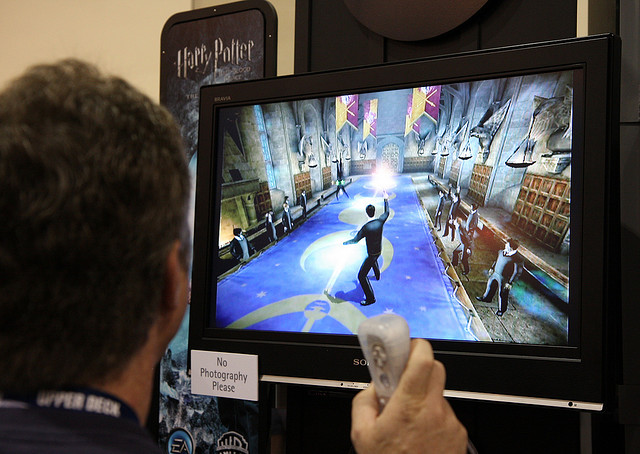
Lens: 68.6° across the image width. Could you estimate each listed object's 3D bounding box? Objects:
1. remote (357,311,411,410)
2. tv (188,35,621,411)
[{"bbox_3d":[0.097,0.216,0.663,0.061,0.208,0.054,0,21,25],"label":"remote"},{"bbox_3d":[0.174,0.002,0.955,0.771,0.633,0.087,-2,-7,24],"label":"tv"}]
